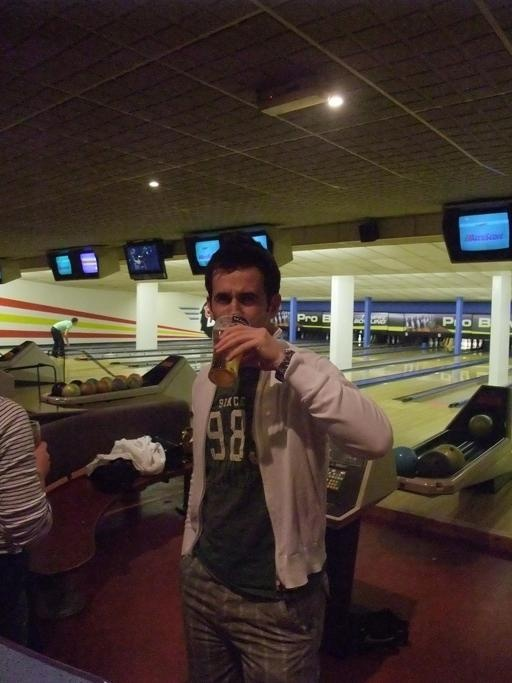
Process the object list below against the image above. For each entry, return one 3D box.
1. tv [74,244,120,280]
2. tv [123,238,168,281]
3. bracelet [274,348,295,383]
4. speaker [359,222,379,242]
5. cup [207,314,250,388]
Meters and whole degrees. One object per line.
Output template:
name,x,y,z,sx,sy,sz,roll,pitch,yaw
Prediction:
tv,-2.204,-1.083,6.587,0.537,0.481,0.432,2,8,10
tv,-1.350,-1.025,5.787,0.540,0.465,0.141,0,17,36
bracelet,0.049,0.035,0.733,0.026,0.048,0.043,2,2,27
speaker,1.013,-0.979,4.212,0.191,0.174,0.141,-4,-4,38
cup,-0.044,0.015,0.755,0.057,0.113,0.094,1,2,-1
